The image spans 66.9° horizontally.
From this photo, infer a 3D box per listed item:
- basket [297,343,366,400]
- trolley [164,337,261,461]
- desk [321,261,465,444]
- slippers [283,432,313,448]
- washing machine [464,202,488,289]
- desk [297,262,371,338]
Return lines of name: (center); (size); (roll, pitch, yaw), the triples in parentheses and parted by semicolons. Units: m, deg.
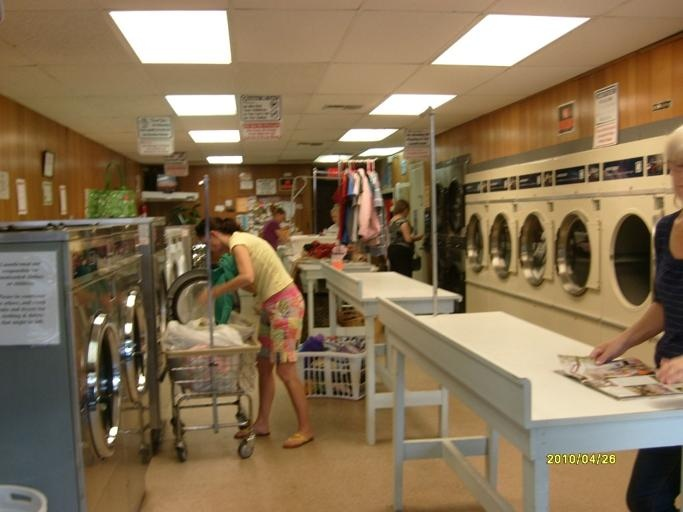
basket: (-0.083, 1.087, 4.859); (0.533, 0.326, 0.429); (-1, 0, 13)
trolley: (-0.963, 0.862, 3.900); (0.754, 0.975, 1.165); (-2, 1, -11)
desk: (0.384, 0.773, 3.967); (0.398, 0.711, 1.267); (-2, 5, -9)
slippers: (-0.339, 1.391, 3.930); (0.183, 0.075, 0.097); (-3, 2, -32)
washing machine: (1.541, -0.151, 5.914); (0.227, 0.876, 0.562); (0, 7, 14)
desk: (-0.017, 0.499, 6.172); (0.893, 1.019, 1.042); (-1, 1, -14)
